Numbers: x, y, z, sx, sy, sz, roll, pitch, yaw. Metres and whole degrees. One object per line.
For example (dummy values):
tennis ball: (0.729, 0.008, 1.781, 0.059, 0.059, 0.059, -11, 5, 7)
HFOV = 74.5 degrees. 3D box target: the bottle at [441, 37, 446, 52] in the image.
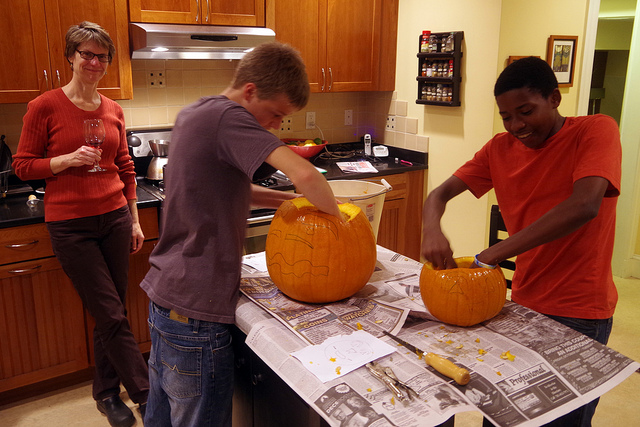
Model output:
bottle: (1.032, -1.414, 3.514, 0.017, 0.104, 0.057, -12, 21, -24)

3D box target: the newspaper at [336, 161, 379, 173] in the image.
newspaper: (0.328, -0.421, 3.760, 0.315, 0.051, 0.345, -6, 19, -10)

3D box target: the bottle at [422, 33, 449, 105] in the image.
bottle: (0.973, -1.231, 3.604, 0.125, 0.517, 0.290, -5, 9, -40)

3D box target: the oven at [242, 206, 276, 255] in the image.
oven: (-0.488, 0.196, 3.283, 0.247, 0.307, 0.346, 7, -8, 0)

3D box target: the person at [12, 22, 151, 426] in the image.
person: (-1.320, 0.103, 2.451, 0.609, 2.262, 0.546, -13, 21, -27)

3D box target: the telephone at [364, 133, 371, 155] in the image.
telephone: (0.478, -0.686, 4.146, 0.077, 0.191, 0.046, -11, 21, -23)

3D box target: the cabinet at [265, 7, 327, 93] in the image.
cabinet: (-0.316, -1.388, 3.837, 0.661, 0.849, 0.425, -4, 22, -29)

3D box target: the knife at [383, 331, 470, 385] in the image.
knife: (0.350, 0.463, 1.432, 0.058, 0.055, 0.359, -23, 22, -22)

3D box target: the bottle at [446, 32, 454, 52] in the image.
bottle: (1.068, -1.405, 3.447, 0.019, 0.144, 0.076, -16, 23, -34)

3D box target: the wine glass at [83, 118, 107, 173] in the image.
wine glass: (-1.261, -0.378, 2.350, 0.129, 0.298, 0.183, -15, 22, -32)
